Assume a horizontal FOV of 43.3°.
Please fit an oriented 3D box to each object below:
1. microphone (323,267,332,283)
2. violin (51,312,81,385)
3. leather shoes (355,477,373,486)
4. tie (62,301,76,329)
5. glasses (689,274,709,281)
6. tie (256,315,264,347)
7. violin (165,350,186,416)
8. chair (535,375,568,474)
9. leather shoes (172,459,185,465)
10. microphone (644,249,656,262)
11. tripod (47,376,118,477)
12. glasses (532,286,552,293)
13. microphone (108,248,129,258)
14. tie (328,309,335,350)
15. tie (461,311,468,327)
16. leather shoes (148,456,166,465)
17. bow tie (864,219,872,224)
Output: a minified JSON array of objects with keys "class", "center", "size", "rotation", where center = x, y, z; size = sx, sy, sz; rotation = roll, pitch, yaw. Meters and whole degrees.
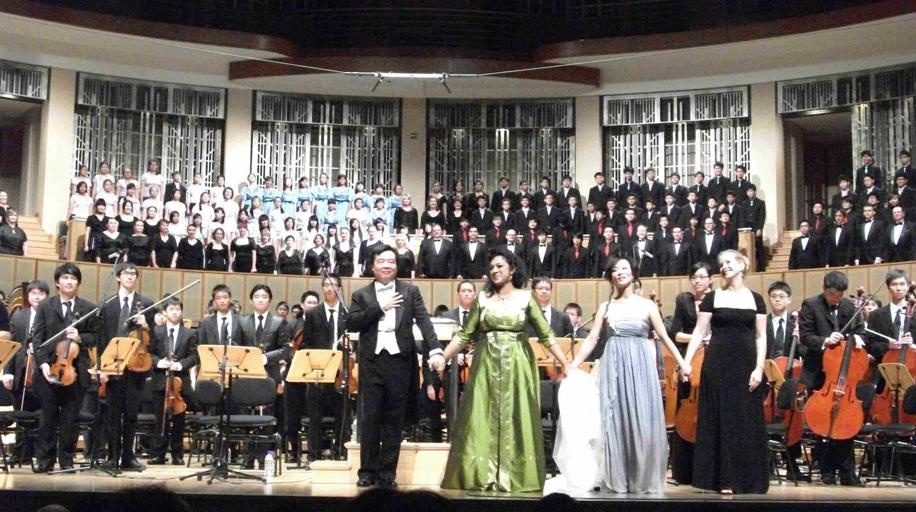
[{"class":"microphone","center":[-2.324,0.343,20.558],"size":[0.198,0.252,0.254],"rotation":[2,28,2]},{"class":"violin","center":[-6.484,1.641,19.045],"size":[0.418,1.020,0.252],"rotation":[0,-3,5]},{"class":"leather shoes","center":[-1.443,3.496,17.778],"size":[0.273,0.163,0.457],"rotation":[2,-7,-1]},{"class":"tie","center":[-6.507,0.957,19.271],"size":[0.217,0.401,0.107],"rotation":[3,-8,-35]},{"class":"glasses","center":[3.995,0.355,18.878],"size":[0.314,0.075,0.100],"rotation":[1,-3,-18]},{"class":"tie","center":[-3.467,1.300,20.434],"size":[0.169,0.490,0.091],"rotation":[-2,-3,38]},{"class":"violin","center":[-4.964,2.320,20.248],"size":[0.398,0.918,0.287],"rotation":[-3,-2,-2]},{"class":"chair","center":[1.612,2.894,19.962],"size":[0.482,1.422,0.391],"rotation":[0,0,1]},{"class":"leather shoes","center":[-4.895,3.609,20.248],"size":[0.095,0.108,0.262],"rotation":[8,-19,-40]},{"class":"microphone","center":[4.352,-0.033,26.050],"size":[0.188,0.061,0.184],"rotation":[30,21,-23]},{"class":"tripod","center":[-6.221,2.968,19.725],"size":[1.010,1.761,0.713],"rotation":[1,-1,-4]},{"class":"glasses","center":[1.513,0.580,20.331],"size":[0.331,0.126,0.178],"rotation":[1,-3,-20]},{"class":"microphone","center":[-6.975,-0.067,23.633],"size":[0.164,0.126,0.336],"rotation":[-5,10,42]},{"class":"tie","center":[-2.174,1.252,20.150],"size":[0.162,0.673,0.192],"rotation":[1,-3,-8]},{"class":"tie","center":[0.132,1.045,19.284],"size":[0.156,0.203,0.075],"rotation":[2,4,28]},{"class":"leather shoes","center":[-5.271,3.584,20.282],"size":[0.316,0.130,0.123],"rotation":[4,-7,-4]},{"class":"bow tie","center":[8.964,-0.747,25.134],"size":[0.092,0.089,0.033],"rotation":[-5,-16,25]}]
